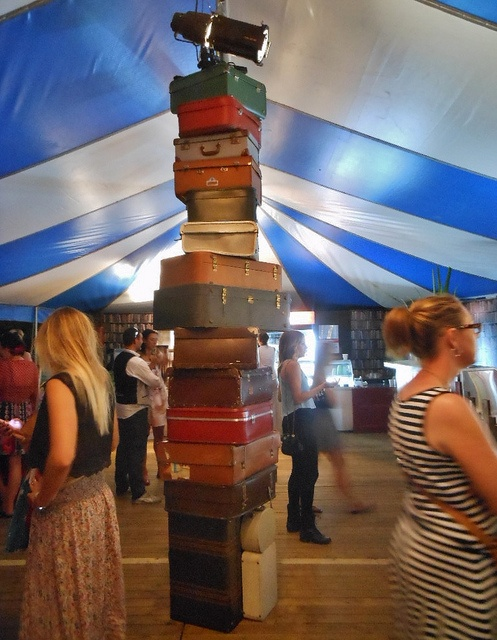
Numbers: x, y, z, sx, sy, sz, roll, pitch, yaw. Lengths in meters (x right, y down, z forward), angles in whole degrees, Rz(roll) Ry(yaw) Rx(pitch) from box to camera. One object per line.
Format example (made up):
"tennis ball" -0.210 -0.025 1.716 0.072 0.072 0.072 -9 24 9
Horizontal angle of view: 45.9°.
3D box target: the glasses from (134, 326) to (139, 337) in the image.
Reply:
"glasses" -1.108 0.114 5.645 0.022 0.088 0.067 -12 -11 16

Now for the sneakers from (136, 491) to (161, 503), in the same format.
"sneakers" -0.932 1.609 5.340 0.194 0.078 0.087 0 -4 -6

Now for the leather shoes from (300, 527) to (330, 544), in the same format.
"leather shoes" 0.467 1.551 4.243 0.247 0.115 0.088 -2 -4 13
